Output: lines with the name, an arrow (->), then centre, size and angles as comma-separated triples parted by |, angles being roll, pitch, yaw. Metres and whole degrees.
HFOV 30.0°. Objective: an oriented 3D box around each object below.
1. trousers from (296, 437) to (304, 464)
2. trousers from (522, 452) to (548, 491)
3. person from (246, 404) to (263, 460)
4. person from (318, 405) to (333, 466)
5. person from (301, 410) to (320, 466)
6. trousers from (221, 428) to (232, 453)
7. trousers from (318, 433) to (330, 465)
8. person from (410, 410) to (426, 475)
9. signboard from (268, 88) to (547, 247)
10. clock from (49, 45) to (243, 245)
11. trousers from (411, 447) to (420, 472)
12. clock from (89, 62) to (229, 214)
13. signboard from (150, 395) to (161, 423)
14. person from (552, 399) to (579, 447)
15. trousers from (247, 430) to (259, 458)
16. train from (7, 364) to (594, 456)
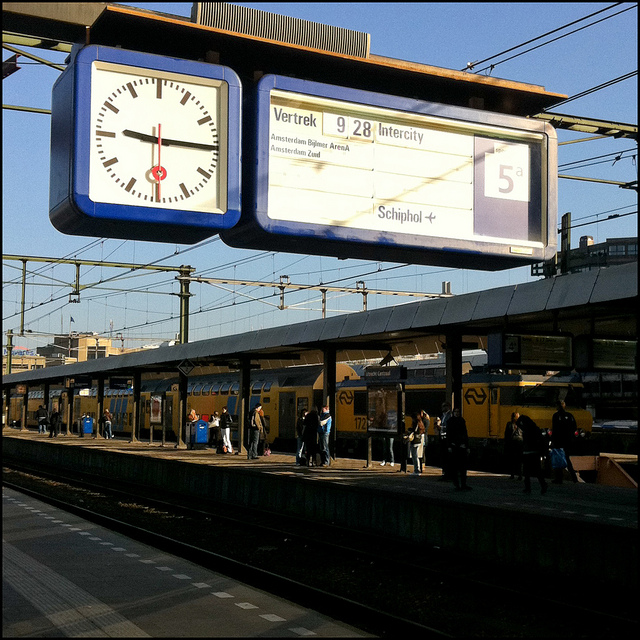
trousers -> -0.390, 2.734, 24.753 | 0.117, 0.526, 0.340 | -2, 0, -5
trousers -> 3.249, 2.298, 17.917 | 0.328, 0.582, 0.877 | -2, 0, 10
person -> -1.471, 2.545, 27.007 | 0.386, 1.243, 1.822 | -2, 0, -4
person -> 0.139, 2.382, 24.285 | 0.305, 1.199, 0.625 | -2, 0, 0
person -> -0.154, 2.417, 24.312 | 0.331, 1.084, 0.770 | -2, 0, -3
trousers -> -2.396, 3.121, 30.829 | 0.262, 0.622, 0.597 | -2, 0, -5
trousers -> 0.114, 2.630, 24.245 | 0.191, 0.634, 0.334 | -2, 0, 1
person -> 1.823, 2.266, 21.918 | 0.291, 1.173, 0.430 | -2, 0, 4
signboard -> 0.683, -1.036, 8.931 | 2.463, 1.158, 0.379 | 5, -12, -20
clock -> -1.211, -1.237, 8.389 | 1.356, 1.299, 0.502 | -2, 0, -21
trousers -> 1.783, 2.566, 21.839 | 0.128, 0.455, 0.260 | -2, 0, -13
clock -> -1.153, -1.251, 8.234 | 0.950, 1.051, 0.109 | 3, -5, -25
signboard -> -4.856, 2.683, 35.552 | 0.189, 0.782, 0.804 | -2, 0, -24
person -> 4.031, 1.728, 19.547 | 0.385, 0.792, 0.764 | -2, 0, 11
trousers -> -1.485, 2.836, 27.255 | 0.216, 0.616, 0.507 | -2, 0, -12
train -> -0.623, 2.401, 31.751 | 2.055, 2.754, 17.984 | 5, -10, -35
